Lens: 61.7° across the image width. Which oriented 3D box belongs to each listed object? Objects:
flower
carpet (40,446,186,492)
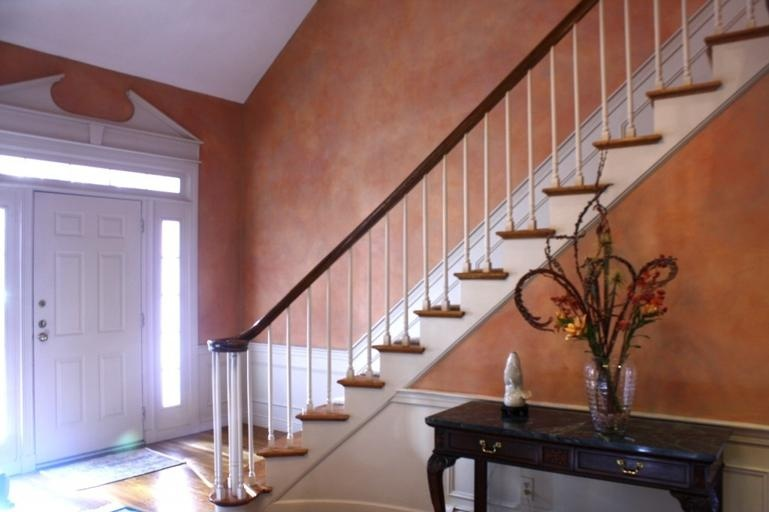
[{"bbox_3d":[1.607,0.062,4.731,1.064,1.398,0.409,-2,-4,6],"label":"flower"},{"bbox_3d":[-2.740,2.076,6.443,1.206,0.125,0.779,-6,4,-38],"label":"carpet"}]
